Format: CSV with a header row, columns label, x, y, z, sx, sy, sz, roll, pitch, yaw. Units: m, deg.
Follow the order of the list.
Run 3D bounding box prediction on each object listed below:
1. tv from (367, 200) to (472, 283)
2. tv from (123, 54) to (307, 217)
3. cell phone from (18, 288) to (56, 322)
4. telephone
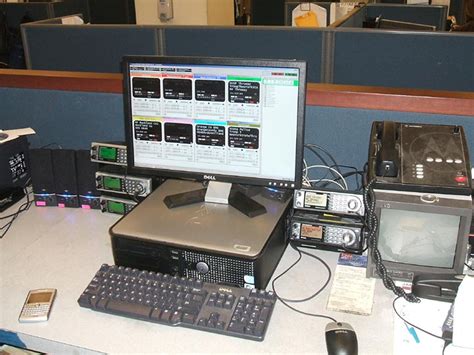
label,x,y,z,sx,sy,sz,roll,pitch,yaw
tv,0.523,0.176,1.135,0.201,0.212,0.117,3,17,19
tv,-0.064,-0.136,1.280,0.491,0.407,0.131,5,25,10
cell phone,-0.564,0.363,1.132,0.075,0.036,0.096,-1,23,-7
telephone,0.539,-0.066,1.192,0.278,0.153,0.216,7,24,14
